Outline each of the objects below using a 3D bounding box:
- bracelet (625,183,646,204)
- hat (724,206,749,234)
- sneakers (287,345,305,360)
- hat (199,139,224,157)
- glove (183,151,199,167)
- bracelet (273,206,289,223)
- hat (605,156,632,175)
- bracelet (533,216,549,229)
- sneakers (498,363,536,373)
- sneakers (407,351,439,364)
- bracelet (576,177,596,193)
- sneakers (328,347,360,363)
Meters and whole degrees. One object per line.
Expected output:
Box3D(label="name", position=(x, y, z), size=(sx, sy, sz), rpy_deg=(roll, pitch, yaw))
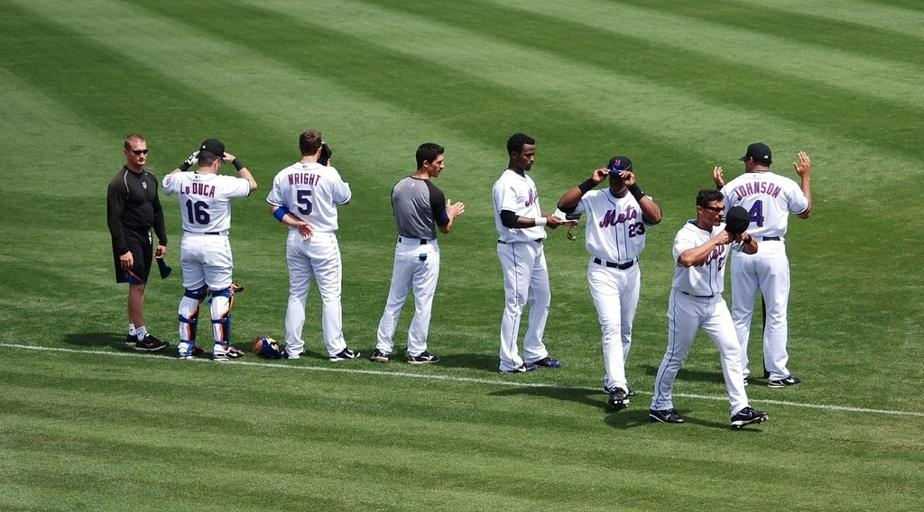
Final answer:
Box3D(label="bracelet", position=(3.206, -1.202, 30.224), size=(0.270, 0.363, 0.168), rpy_deg=(-40, 18, -14))
Box3D(label="hat", position=(4.947, -0.645, 29.449), size=(0.393, 0.521, 0.200), rpy_deg=(4, 6, 2))
Box3D(label="sneakers", position=(-3.205, 1.835, 31.443), size=(0.424, 0.181, 0.266), rpy_deg=(-6, 6, 25))
Box3D(label="hat", position=(-4.755, -2.101, 31.336), size=(0.422, 0.323, 0.435), rpy_deg=(3, 5, 1))
Box3D(label="glove", position=(-5.160, -1.892, 31.436), size=(0.258, 0.285, 0.693), rpy_deg=(3, 5, -8))
Box3D(label="bracelet", position=(-3.464, -0.812, 31.422), size=(0.422, 0.202, 0.315), rpy_deg=(16, -26, -8))
Box3D(label="hat", position=(2.908, -1.677, 30.127), size=(0.403, 0.336, 0.259), rpy_deg=(3, 6, 0))
Box3D(label="bracelet", position=(1.485, -0.646, 30.822), size=(0.318, 0.181, 0.186), rpy_deg=(0, 10, 0))
Box3D(label="sneakers", position=(1.013, 2.130, 31.220), size=(0.784, 0.181, 0.209), rpy_deg=(-2, 0, -6))
Box3D(label="sneakers", position=(-0.752, 1.965, 31.401), size=(0.738, 0.183, 0.217), rpy_deg=(0, 0, -4))
Box3D(label="bracelet", position=(2.372, -1.317, 30.253), size=(0.411, 0.195, 0.160), rpy_deg=(-20, -52, 32))
Box3D(label="sneakers", position=(-2.243, 1.897, 31.419), size=(0.725, 0.181, 0.209), rpy_deg=(-2, 6, -11))
